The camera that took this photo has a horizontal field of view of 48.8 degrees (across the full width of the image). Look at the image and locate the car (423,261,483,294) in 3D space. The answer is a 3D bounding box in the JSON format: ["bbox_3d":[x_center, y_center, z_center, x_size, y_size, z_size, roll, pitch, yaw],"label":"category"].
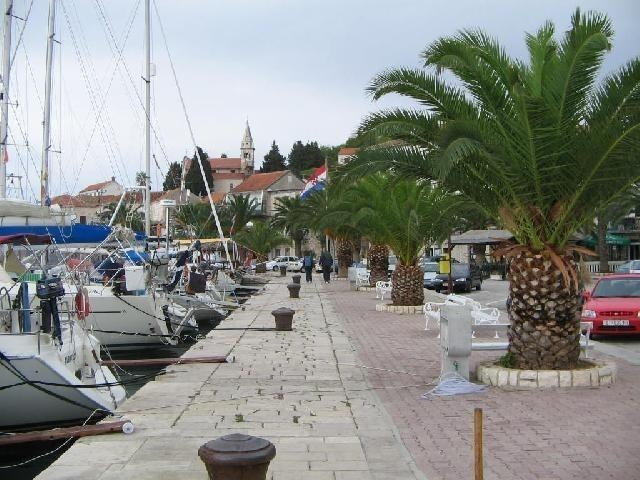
[{"bbox_3d":[6.867,1.804,36.148,1.639,1.251,3.597,-2,-6,14],"label":"car"}]

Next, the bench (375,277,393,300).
[{"bbox_3d":[2.802,2.049,29.970,0.798,0.944,0.780,0,-11,-2],"label":"bench"}]
